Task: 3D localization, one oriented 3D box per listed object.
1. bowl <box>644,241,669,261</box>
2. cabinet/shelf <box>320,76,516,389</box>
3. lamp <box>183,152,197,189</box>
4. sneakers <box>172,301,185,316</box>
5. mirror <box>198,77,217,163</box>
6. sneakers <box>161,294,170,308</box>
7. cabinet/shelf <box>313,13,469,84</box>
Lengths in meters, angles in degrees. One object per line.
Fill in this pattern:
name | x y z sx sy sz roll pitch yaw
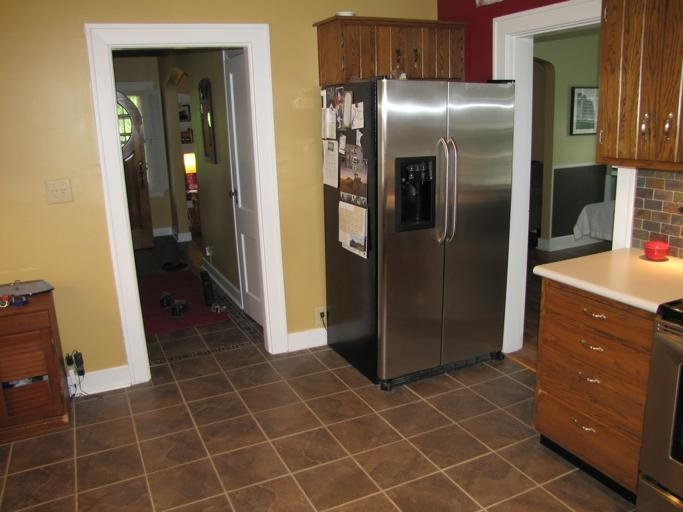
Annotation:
bowl | 1.972 -0.033 3.293 0.110 0.084 0.131 1 5 16
cabinet/shelf | 0.616 -0.195 4.127 1.513 2.300 0.765 -5 16 -3
lamp | -2.419 -1.343 8.384 0.233 0.603 0.212 -3 16 3
sneakers | -1.708 0.564 5.498 0.115 0.126 0.161 -4 17 0
mirror | -1.505 -1.561 5.920 0.038 1.086 0.765 -8 18 -20
sneakers | -1.917 0.498 5.730 0.120 0.149 0.125 1 6 17
cabinet/shelf | 0.492 -1.690 4.307 1.210 0.531 0.228 -11 18 -22
